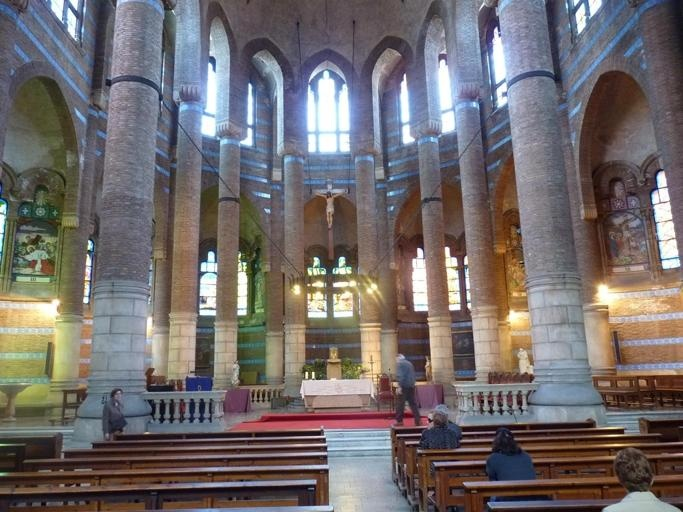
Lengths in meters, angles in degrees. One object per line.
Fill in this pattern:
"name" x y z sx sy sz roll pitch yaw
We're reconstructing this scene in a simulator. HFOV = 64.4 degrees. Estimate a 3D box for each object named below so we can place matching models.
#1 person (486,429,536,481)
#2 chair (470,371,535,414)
"person" 2.369 2.789 7.698 0.652 0.673 0.339 -6 -14 10
"chair" 4.543 3.855 15.608 1.518 0.942 2.107 -1 -22 1
